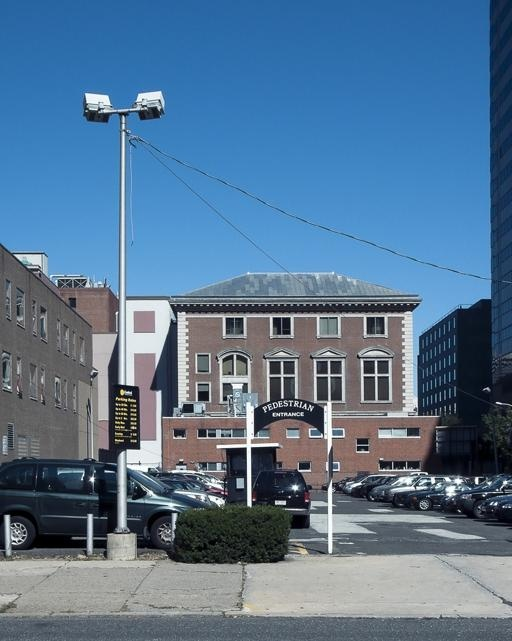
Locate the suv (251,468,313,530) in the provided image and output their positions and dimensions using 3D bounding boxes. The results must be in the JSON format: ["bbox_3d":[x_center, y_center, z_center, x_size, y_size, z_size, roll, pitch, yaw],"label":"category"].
[{"bbox_3d":[0.703,4.422,29.970,0.964,1.157,2.271,0,-1,2],"label":"suv"}]
